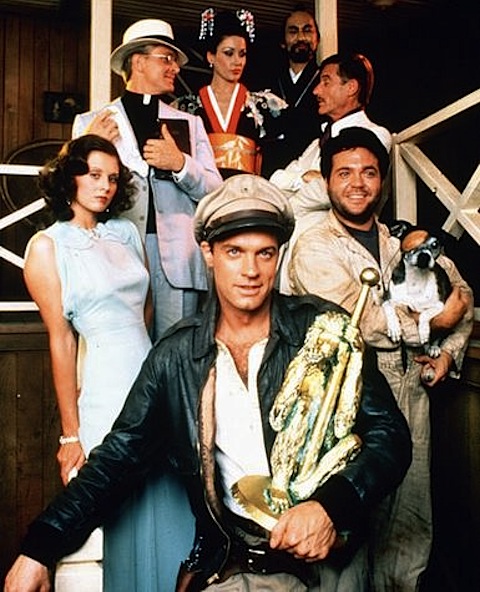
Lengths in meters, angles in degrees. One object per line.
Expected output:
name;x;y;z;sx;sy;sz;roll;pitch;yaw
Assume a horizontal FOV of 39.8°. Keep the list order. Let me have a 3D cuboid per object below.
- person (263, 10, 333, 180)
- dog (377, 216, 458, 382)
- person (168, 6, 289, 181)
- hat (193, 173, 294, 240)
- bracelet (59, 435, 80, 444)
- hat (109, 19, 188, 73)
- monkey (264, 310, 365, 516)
person;0.263;-0.926;3.046;0.301;0.763;0.258;-2;21;-9
dog;0.668;0.009;2.729;0.286;0.595;0.274;1;18;-2
person;-0.021;-0.849;2.979;0.395;0.804;0.455;-6;18;-26
hat;-0.009;-0.260;1.927;0.243;0.210;0.347;0;12;-10
bracelet;-0.600;0.506;2.334;0.052;0.018;0.039;-1;-5;13
hat;-0.353;-0.991;2.618;0.276;0.130;0.216;-4;-2;-6
monkey;0.204;0.303;1.684;0.235;0.516;0.170;18;6;4
